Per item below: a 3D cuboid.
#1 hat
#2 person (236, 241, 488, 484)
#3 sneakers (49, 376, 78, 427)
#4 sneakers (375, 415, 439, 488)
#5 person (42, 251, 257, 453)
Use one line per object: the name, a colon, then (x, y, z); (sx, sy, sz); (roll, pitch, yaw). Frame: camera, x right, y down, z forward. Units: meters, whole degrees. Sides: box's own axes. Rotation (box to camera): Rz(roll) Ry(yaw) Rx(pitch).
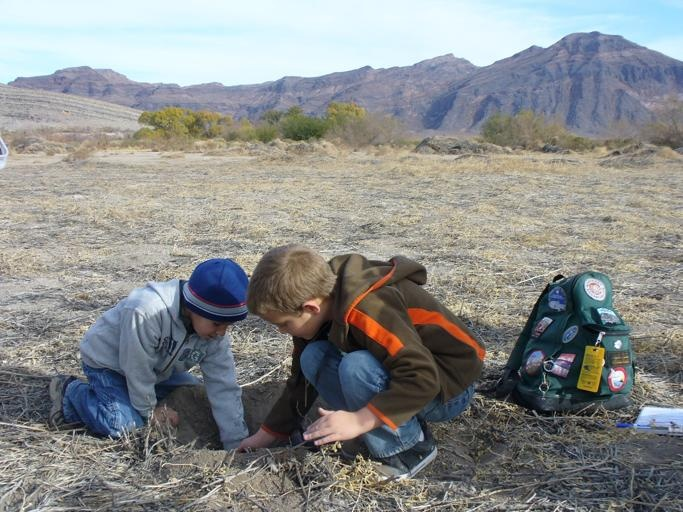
hat: (-0.716, 0.167, 3.406); (0.458, 0.253, 0.450); (11, 29, -10)
person: (0.092, 0.632, 3.146); (1.276, 1.320, 0.717); (6, 12, 10)
sneakers: (-1.754, 0.889, 3.560); (0.172, 0.316, 0.143); (-16, -15, 27)
sneakers: (0.369, 1.111, 3.212); (0.514, 0.172, 0.167); (-8, 15, -39)
person: (-1.102, 0.579, 3.653); (1.532, 1.080, 0.866); (2, 4, 13)
